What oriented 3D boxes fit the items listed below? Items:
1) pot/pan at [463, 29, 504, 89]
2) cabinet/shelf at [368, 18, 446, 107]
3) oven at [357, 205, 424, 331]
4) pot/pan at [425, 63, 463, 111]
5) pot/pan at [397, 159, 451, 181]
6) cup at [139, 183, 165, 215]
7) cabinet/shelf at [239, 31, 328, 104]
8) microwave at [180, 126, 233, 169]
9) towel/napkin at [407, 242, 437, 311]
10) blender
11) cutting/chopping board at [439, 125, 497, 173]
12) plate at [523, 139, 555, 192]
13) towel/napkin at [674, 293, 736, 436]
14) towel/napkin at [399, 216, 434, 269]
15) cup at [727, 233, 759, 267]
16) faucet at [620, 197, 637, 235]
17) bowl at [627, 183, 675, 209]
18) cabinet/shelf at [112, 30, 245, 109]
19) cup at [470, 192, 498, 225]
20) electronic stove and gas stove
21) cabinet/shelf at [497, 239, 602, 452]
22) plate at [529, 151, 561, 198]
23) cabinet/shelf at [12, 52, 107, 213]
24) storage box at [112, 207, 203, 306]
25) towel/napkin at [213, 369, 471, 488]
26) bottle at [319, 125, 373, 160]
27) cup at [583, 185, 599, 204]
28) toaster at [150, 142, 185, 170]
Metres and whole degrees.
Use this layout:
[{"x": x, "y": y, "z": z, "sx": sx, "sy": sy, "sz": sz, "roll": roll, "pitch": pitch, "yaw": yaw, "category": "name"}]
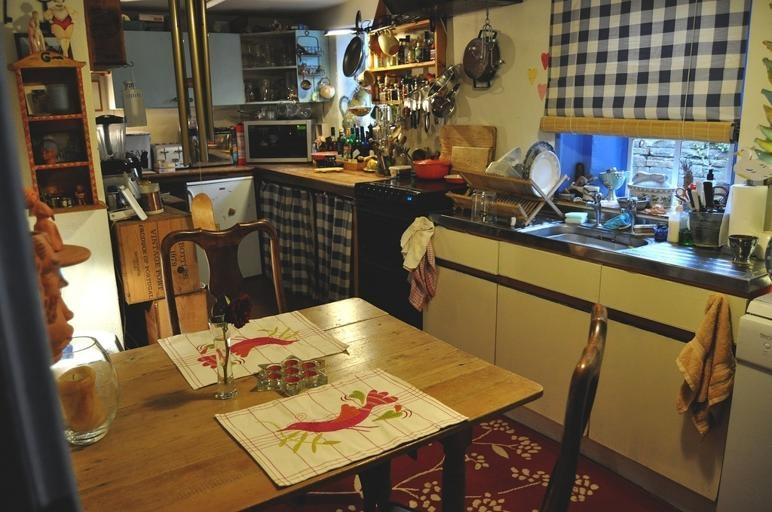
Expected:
[{"x": 0.653, "y": -1.314, "z": 3.600, "sx": 0.097, "sy": 0.361, "sz": 0.320, "roll": -9, "pitch": 20, "yaw": -31, "category": "pot/pan"}, {"x": 0.184, "y": -1.484, "z": 4.092, "sx": 0.238, "sy": 0.647, "sz": 0.785, "roll": -7, "pitch": 10, "yaw": -37, "category": "cabinet/shelf"}, {"x": 0.009, "y": -0.040, "z": 4.245, "sx": 0.542, "sy": 0.919, "sz": 0.981, "roll": 0, "pitch": 15, "yaw": -5, "category": "oven"}, {"x": 0.428, "y": -1.200, "z": 3.861, "sx": 0.128, "sy": 0.308, "sz": 0.189, "roll": 3, "pitch": 53, "yaw": -16, "category": "pot/pan"}, {"x": 0.262, "y": -0.621, "z": 3.907, "sx": 0.339, "sy": 0.089, "sz": 0.188, "roll": -6, "pitch": 12, "yaw": -1, "category": "pot/pan"}, {"x": -1.514, "y": -0.373, "z": 3.471, "sx": 0.148, "sy": 0.204, "sz": 0.132, "roll": 13, "pitch": 23, "yaw": 38, "category": "cup"}, {"x": -1.092, "y": -1.941, "z": 5.635, "sx": 0.919, "sy": 0.665, "sz": 0.336, "roll": -3, "pitch": 14, "yaw": -3, "category": "cabinet/shelf"}, {"x": -1.737, "y": -1.149, "z": 5.679, "sx": 0.709, "sy": 0.432, "sz": 0.396, "roll": 1, "pitch": 4, "yaw": 17, "category": "microwave"}, {"x": 0.233, "y": 0.089, "z": 3.408, "sx": 0.195, "sy": 0.488, "sz": 0.096, "roll": 11, "pitch": 50, "yaw": 17, "category": "towel/napkin"}, {"x": -1.799, "y": -0.580, "z": 3.535, "sx": 0.346, "sy": 0.666, "sz": 0.237, "roll": -8, "pitch": 14, "yaw": -40, "category": "blender"}, {"x": 0.562, "y": -0.769, "z": 3.852, "sx": 0.450, "sy": 0.305, "sz": 0.047, "roll": -3, "pitch": 24, "yaw": -26, "category": "cutting/chopping board"}, {"x": 0.891, "y": -0.505, "z": 3.037, "sx": 0.064, "sy": 0.253, "sz": 0.254, "roll": -4, "pitch": -20, "yaw": 44, "category": "plate"}, {"x": 1.265, "y": 0.425, "z": 2.109, "sx": 0.165, "sy": 0.540, "sz": 0.161, "roll": -6, "pitch": 19, "yaw": -21, "category": "towel/napkin"}, {"x": 0.217, "y": -0.061, "z": 3.437, "sx": 0.136, "sy": 0.291, "sz": 0.348, "roll": 34, "pitch": 13, "yaw": 31, "category": "towel/napkin"}, {"x": 1.478, "y": -0.026, "z": 2.232, "sx": 0.120, "sy": 0.128, "sz": 0.128, "roll": -2, "pitch": 5, "yaw": 0, "category": "cup"}, {"x": 1.269, "y": -0.225, "z": 2.797, "sx": 0.074, "sy": 0.160, "sz": 0.200, "roll": 9, "pitch": 19, "yaw": 23, "category": "faucet"}, {"x": 1.430, "y": -0.328, "z": 2.916, "sx": 0.230, "sy": 0.127, "sz": 0.097, "roll": 9, "pitch": 19, "yaw": 23, "category": "bowl"}, {"x": -2.112, "y": -1.899, "z": 5.481, "sx": 1.278, "sy": 0.743, "sz": 0.391, "roll": -4, "pitch": 18, "yaw": -15, "category": "cabinet/shelf"}, {"x": 0.576, "y": -0.280, "z": 3.173, "sx": 0.166, "sy": 0.187, "sz": 0.166, "roll": 0, "pitch": 12, "yaw": 0, "category": "cup"}, {"x": 0.203, "y": -0.423, "z": 3.766, "sx": 0.466, "sy": 0.184, "sz": 0.748, "roll": -13, "pitch": 22, "yaw": -37, "category": "electronic stove and gas stove"}, {"x": 0.688, "y": 0.447, "z": 3.036, "sx": 0.618, "sy": 1.061, "sz": 0.651, "roll": 12, "pitch": 0, "yaw": 42, "category": "cabinet/shelf"}, {"x": 0.891, "y": -0.456, "z": 3.003, "sx": 0.301, "sy": 0.252, "sz": 0.112, "roll": -12, "pitch": 22, "yaw": -36, "category": "plate"}, {"x": -1.862, "y": -0.706, "z": 3.070, "sx": 0.348, "sy": 0.835, "sz": 0.327, "roll": -10, "pitch": 20, "yaw": -32, "category": "cabinet/shelf"}, {"x": -1.424, "y": 0.002, "z": 3.572, "sx": 0.629, "sy": 0.621, "sz": 0.650, "roll": -8, "pitch": 11, "yaw": -26, "category": "storage box"}, {"x": -0.117, "y": 0.421, "z": 1.394, "sx": 0.555, "sy": 0.029, "sz": 0.361, "roll": -9, "pitch": 20, "yaw": -29, "category": "towel/napkin"}, {"x": -0.356, "y": -1.056, "z": 5.056, "sx": 0.420, "sy": 0.392, "sz": 0.207, "roll": 10, "pitch": 18, "yaw": 36, "category": "bottle"}, {"x": 1.195, "y": -0.351, "z": 3.089, "sx": 0.114, "sy": 0.115, "sz": 0.121, "roll": 0, "pitch": 10, "yaw": 0, "category": "cup"}, {"x": -2.045, "y": -0.936, "z": 5.043, "sx": 0.270, "sy": 0.198, "sz": 0.200, "roll": -9, "pitch": 20, "yaw": -29, "category": "toaster"}]
